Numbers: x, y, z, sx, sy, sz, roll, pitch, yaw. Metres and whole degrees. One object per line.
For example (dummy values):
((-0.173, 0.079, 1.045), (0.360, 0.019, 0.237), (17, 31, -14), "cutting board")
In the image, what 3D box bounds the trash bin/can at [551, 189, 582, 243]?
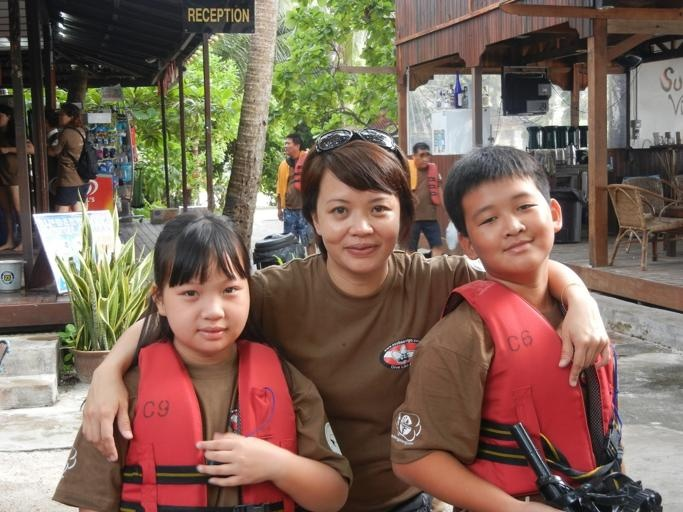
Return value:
((4.239, -0.756, 12.250), (0.839, 1.043, 0.877), (-3, 5, 10), "trash bin/can")

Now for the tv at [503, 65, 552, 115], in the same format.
((3.938, -3.448, 13.535), (1.064, 1.127, 0.625), (-1, -1, 5), "tv")

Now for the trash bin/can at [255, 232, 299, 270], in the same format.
((-0.870, -0.078, 8.308), (0.572, 0.655, 0.603), (-9, 4, -5), "trash bin/can")

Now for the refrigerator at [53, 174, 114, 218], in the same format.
((-4.933, -1.152, 11.986), (1.023, 1.167, 1.106), (-2, 16, -17), "refrigerator")

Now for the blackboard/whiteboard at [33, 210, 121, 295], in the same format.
((-2.503, -0.160, 6.244), (0.718, 1.046, 0.902), (20, 23, 41), "blackboard/whiteboard")

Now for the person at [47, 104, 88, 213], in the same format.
((-4.140, -1.459, 9.501), (0.526, 1.919, 0.632), (-5, 17, -25), "person")
